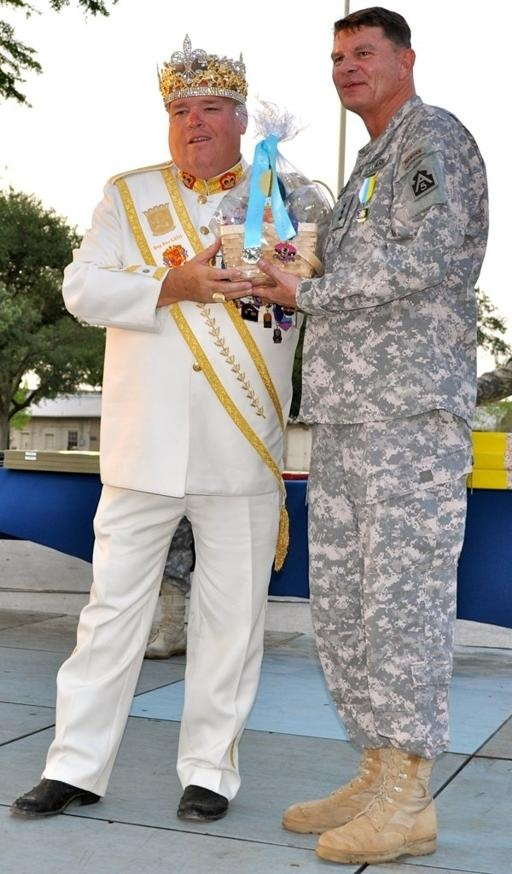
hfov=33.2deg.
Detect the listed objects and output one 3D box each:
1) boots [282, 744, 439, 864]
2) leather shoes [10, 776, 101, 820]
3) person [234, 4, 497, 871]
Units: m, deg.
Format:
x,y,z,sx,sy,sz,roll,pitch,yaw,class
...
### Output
x,y,z,sx,sy,sz,roll,pitch,yaw,class
0.243,0.784,1.903,0.317,0.220,0.272,4,-4,-21,boots
-0.464,0.830,1.998,0.189,0.075,0.068,6,-10,-36,leather shoes
0.250,-0.034,1.929,0.460,1.854,0.374,1,-4,29,person
